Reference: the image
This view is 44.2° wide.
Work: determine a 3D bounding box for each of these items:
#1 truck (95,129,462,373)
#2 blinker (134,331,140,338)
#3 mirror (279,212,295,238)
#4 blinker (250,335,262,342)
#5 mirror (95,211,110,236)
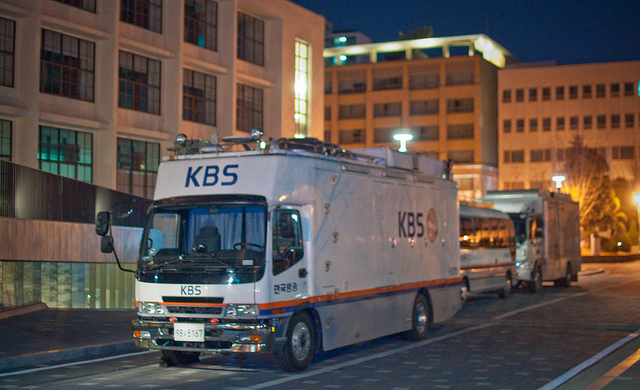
[{"bbox_3d":[-0.351,1.715,24.985,9.903,5.562,3.742,9,5,-38],"label":"truck"},{"bbox_3d":[-5.405,4.129,23.414,0.225,0.205,0.034,15,6,38],"label":"blinker"},{"bbox_3d":[-0.943,0.887,23.145,0.520,0.562,0.207,8,6,-39],"label":"mirror"},{"bbox_3d":[-1.810,4.111,22.636,0.196,0.126,0.203,-2,-5,21],"label":"blinker"},{"bbox_3d":[-6.428,0.871,23.422,0.383,0.724,0.480,10,5,-15],"label":"mirror"}]
